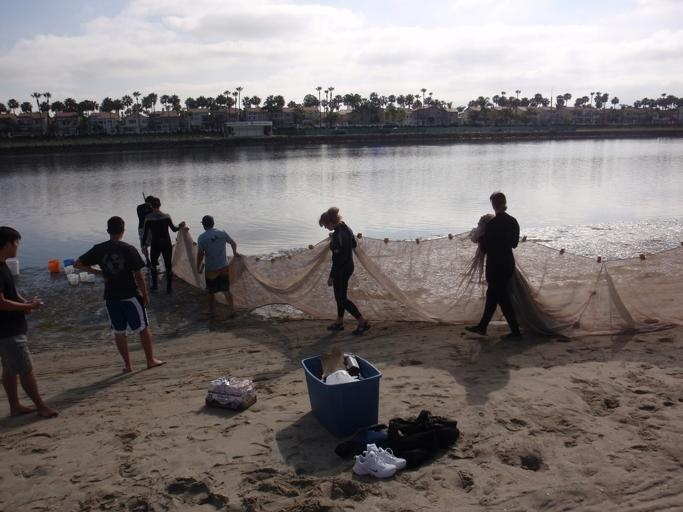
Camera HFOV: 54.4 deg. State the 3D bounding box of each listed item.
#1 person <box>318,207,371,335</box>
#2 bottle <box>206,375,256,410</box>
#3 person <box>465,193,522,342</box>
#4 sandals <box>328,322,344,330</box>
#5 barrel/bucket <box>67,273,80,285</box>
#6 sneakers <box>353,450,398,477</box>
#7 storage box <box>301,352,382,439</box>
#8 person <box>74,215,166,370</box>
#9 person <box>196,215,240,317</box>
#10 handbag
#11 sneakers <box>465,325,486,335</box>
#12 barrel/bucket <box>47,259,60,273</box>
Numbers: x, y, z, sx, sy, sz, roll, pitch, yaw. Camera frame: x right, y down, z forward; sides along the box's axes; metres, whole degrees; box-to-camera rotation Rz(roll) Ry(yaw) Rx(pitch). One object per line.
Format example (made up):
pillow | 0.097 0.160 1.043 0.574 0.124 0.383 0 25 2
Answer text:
person | 0.040 0.240 11.137 0.685 2.130 0.737 -4 11 1
bottle | -1.492 1.848 8.847 0.690 0.353 0.414 -5 11 -9
person | 2.435 0.148 10.502 0.731 2.300 0.444 -1 12 16
sandals | -0.103 1.221 11.449 0.300 0.105 0.114 5 5 24
barrel/bucket | -6.075 0.542 15.063 0.242 0.268 0.319 -2 -7 -44
sneakers | 0.368 2.380 7.602 0.551 0.222 0.225 0 7 6
storage box | -0.053 1.793 8.609 0.882 0.598 1.046 -3 8 -26
person | -3.204 0.600 9.630 0.916 2.322 0.465 -7 11 -14
person | -2.342 0.195 12.327 0.806 1.915 0.567 -9 12 -25
handbag | 0.746 2.189 7.885 0.994 0.273 0.739 -3 3 -30
sneakers | 2.175 1.199 10.803 0.133 0.142 0.379 -9 16 -39
barrel/bucket | -7.162 0.266 16.485 0.360 0.342 0.326 1 -7 -19
